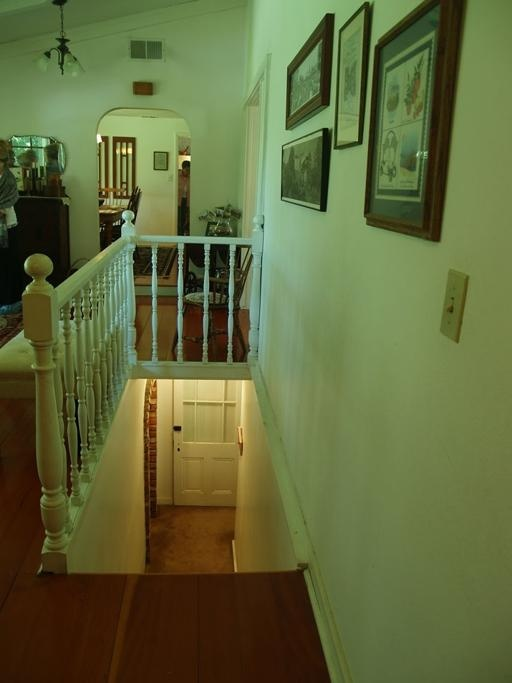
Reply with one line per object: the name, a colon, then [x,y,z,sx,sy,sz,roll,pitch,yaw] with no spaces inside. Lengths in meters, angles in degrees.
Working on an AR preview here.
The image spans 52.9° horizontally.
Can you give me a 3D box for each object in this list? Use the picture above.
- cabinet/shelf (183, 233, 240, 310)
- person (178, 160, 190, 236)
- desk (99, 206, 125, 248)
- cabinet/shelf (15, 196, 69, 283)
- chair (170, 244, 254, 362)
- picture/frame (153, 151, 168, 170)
cabinet/shelf: [-0.443,-0.614,5.023,0.371,0.792,0.424,1,-7,28]
person: [-1.385,-2.731,9.860,0.238,0.164,1.615,-12,-33,-15]
desk: [-2.203,-1.733,7.770,0.312,0.647,1.276,4,10,-17]
cabinet/shelf: [-2.406,-1.169,5.832,0.624,1.001,0.364,3,7,-32]
chair: [-0.390,-0.345,4.773,0.572,1.526,0.832,2,21,0]
picture/frame: [-1.934,-3.669,10.350,0.197,0.348,0.034,4,33,-5]
